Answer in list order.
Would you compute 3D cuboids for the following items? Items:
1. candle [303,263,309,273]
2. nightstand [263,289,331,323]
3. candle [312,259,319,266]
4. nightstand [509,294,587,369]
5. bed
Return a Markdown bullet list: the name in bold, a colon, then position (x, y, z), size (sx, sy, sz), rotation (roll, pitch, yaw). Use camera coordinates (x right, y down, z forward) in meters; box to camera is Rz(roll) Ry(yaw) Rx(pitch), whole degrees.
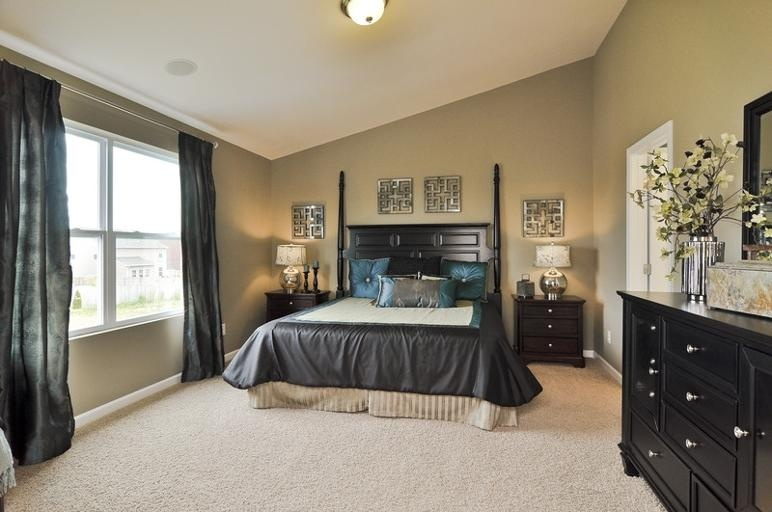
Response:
- **candle**: position (-1.027, 0.143, 6.637), size (0.098, 0.115, 0.100), rotation (0, -4, -2)
- **nightstand**: position (-1.142, 0.512, 6.315), size (0.553, 0.568, 0.416), rotation (0, 0, 5)
- **candle**: position (-0.881, 0.083, 6.392), size (0.071, 0.082, 0.072), rotation (0, -3, -6)
- **nightstand**: position (1.867, 0.842, 6.053), size (0.871, 0.902, 0.716), rotation (-1, -3, 14)
- **bed**: position (-0.006, 0.555, 5.418), size (2.804, 1.900, 2.096), rotation (-2, 1, 9)
